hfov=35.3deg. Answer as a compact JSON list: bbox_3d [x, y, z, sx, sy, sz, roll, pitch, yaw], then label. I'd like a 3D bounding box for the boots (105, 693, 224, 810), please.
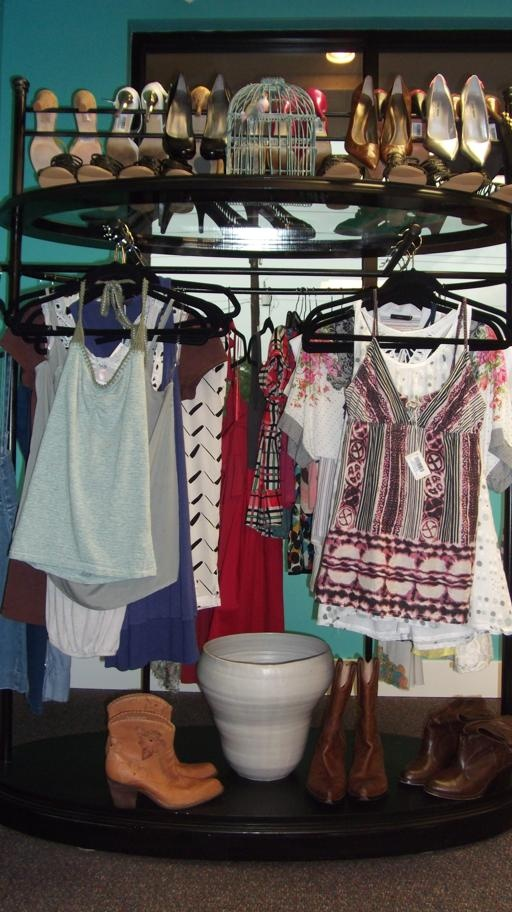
[{"bbox_3d":[-0.238,0.722,2.024,0.344,0.304,0.162,1,-7,-6],"label":"boots"}]

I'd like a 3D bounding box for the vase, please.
[{"bbox_3d":[0.026,0.621,2.016,0.309,0.315,0.331,1,2,0],"label":"vase"}]

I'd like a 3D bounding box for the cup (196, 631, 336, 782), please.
[{"bbox_3d":[0.028,0.642,2.084,0.363,0.357,0.359,3,3,0],"label":"cup"}]
